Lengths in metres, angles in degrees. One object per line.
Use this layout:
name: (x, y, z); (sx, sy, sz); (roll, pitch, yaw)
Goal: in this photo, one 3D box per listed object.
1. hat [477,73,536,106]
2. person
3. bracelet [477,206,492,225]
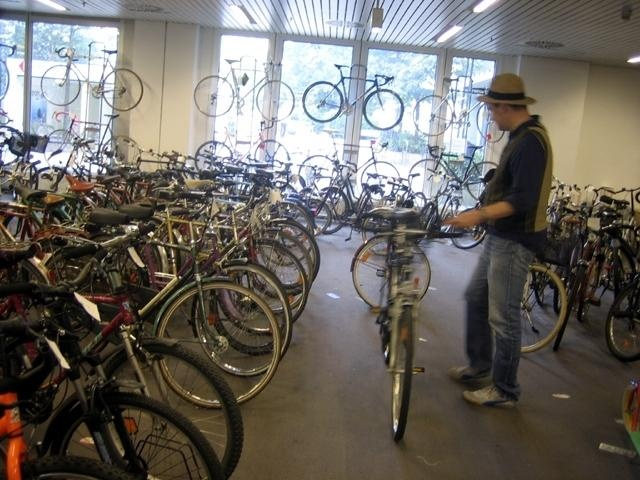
hat: (1.164, -0.948, 3.053); (0.358, 0.169, 0.356); (9, 30, 30)
person: (1.133, 0.033, 3.154); (0.639, 2.067, 0.659); (1, 8, 9)
bracelet: (0.950, -0.139, 2.890); (0.084, 0.127, 0.033); (-4, 5, -28)
